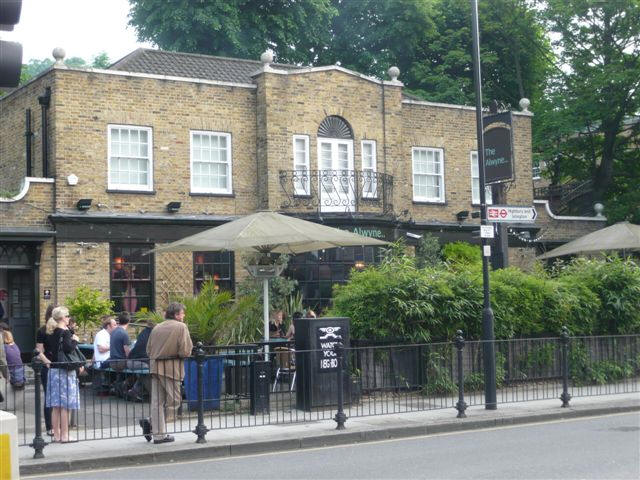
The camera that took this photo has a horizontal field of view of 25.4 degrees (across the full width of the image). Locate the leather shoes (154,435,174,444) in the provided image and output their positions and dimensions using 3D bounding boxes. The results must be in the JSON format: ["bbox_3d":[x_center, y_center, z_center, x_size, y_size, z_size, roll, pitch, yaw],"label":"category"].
[{"bbox_3d":[-4.142,5.246,37.829,0.547,0.215,0.199,-3,3,-12],"label":"leather shoes"}]

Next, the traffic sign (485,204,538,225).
[{"bbox_3d":[5.566,-0.776,41.265,1.444,0.497,0.516,-1,-4,-1],"label":"traffic sign"}]

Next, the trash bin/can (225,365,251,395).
[{"bbox_3d":[-2.336,3.967,40.650,0.820,0.853,0.824,-2,-4,24],"label":"trash bin/can"}]
